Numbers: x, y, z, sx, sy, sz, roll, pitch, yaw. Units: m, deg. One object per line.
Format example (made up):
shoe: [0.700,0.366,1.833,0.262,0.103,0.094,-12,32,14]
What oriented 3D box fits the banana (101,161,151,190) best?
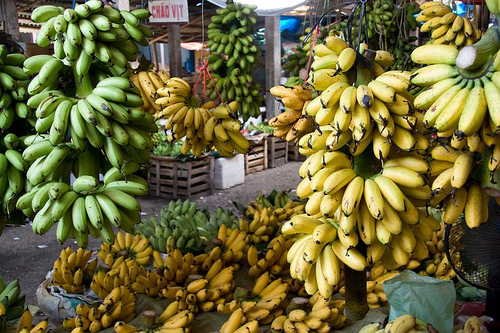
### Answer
banana: [-0.808,0.025,3.147,0.386,0.105,0.141,-26,-20,-24]

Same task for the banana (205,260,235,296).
banana: [-0.242,0.925,3.829,0.160,0.224,0.079,34,25,-9]

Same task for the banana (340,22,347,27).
banana: [0.904,-1.365,4.395,0.051,0.053,0.133,-2,14,11]

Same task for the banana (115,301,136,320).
banana: [-0.939,1.112,3.544,0.050,0.062,0.186,41,62,16]

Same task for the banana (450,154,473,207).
banana: [1.148,0.047,2.524,0.085,0.323,0.118,6,-23,19]

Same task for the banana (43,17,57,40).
banana: [-1.302,-0.908,3.003,0.079,0.148,0.047,21,-34,-30]

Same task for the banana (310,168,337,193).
banana: [0.420,0.049,2.664,0.074,0.061,0.226,42,57,12]

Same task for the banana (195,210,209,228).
banana: [-0.518,0.558,4.966,0.069,0.089,0.238,4,25,-13]

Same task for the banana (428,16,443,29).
banana: [1.457,-1.121,3.600,0.054,0.042,0.150,34,59,16]

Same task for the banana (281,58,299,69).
banana: [0.383,-0.967,4.305,0.160,0.095,0.194,-3,14,6]

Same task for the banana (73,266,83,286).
banana: [-1.463,0.940,3.932,0.041,0.161,0.055,10,-12,-8]

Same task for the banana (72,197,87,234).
banana: [-1.060,0.300,2.861,0.068,0.254,0.081,-32,-37,24]

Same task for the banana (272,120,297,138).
banana: [0.219,-0.237,3.014,0.122,0.041,0.070,-31,29,20]

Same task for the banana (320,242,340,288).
banana: [0.485,0.606,2.840,0.133,0.159,0.479,6,-26,9]

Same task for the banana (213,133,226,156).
banana: [-0.260,-0.167,3.758,0.037,0.191,0.063,-16,11,23]

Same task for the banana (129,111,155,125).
banana: [-0.699,-0.308,3.080,0.205,0.080,0.059,-10,32,13]

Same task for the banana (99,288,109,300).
banana: [-1.188,1.035,3.729,0.049,0.089,0.028,13,-27,-23]

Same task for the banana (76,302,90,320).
banana: [-1.243,1.093,3.430,0.075,0.123,0.078,-10,-14,-24]

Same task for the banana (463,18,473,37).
banana: [1.646,-1.054,3.479,0.044,0.052,0.162,-27,44,29]

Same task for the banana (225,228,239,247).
banana: [-0.148,0.664,4.414,0.058,0.075,0.222,22,59,18]

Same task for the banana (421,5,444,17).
banana: [1.440,-1.229,3.627,0.145,0.077,0.072,1,15,23]

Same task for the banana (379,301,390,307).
banana: [1.062,1.089,3.627,0.047,0.026,0.040,1,-24,1]

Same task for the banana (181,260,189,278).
banana: [-0.551,0.874,3.919,0.039,0.141,0.049,-6,-2,-9]

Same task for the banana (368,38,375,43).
banana: [1.127,-1.166,4.244,0.021,0.035,0.126,10,11,33]

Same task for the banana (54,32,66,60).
banana: [-1.232,-0.769,3.014,0.079,0.214,0.057,-13,-14,40]

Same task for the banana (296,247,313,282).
banana: [0.325,0.575,2.717,0.050,0.199,0.063,7,-7,29]

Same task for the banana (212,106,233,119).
banana: [-0.214,-0.417,3.567,0.155,0.092,0.046,1,15,23]

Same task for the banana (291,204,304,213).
banana: [0.523,0.462,5.079,0.156,0.041,0.054,-34,-21,-9]

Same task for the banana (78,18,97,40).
banana: [-1.033,-0.878,2.974,0.067,0.071,0.197,15,25,-52]

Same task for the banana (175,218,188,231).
banana: [-0.724,0.597,4.803,0.049,0.074,0.201,-1,27,-45]

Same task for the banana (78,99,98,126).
banana: [-1.027,-0.356,2.901,0.073,0.074,0.232,-36,47,1]

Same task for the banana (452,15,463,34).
banana: [1.563,-1.075,3.449,0.050,0.053,0.177,7,47,28]

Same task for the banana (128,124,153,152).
banana: [-0.734,-0.180,3.090,0.095,0.267,0.073,-34,-21,-8]

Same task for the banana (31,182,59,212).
banana: [-1.280,0.192,2.904,0.078,0.065,0.237,-10,39,54]

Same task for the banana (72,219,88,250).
banana: [-1.086,0.471,2.968,0.061,0.244,0.081,-19,-9,4]

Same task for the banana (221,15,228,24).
banana: [-0.224,-1.333,4.157,0.052,0.071,0.114,-6,14,-4]

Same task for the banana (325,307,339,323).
banana: [0.585,1.044,3.245,0.138,0.079,0.043,-12,1,-8]

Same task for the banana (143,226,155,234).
banana: [-1.058,0.672,4.931,0.137,0.060,0.101,6,18,37]

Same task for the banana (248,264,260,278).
banana: [0.042,0.907,3.971,0.060,0.081,0.104,40,2,29]

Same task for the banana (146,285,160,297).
banana: [-0.795,1.020,3.759,0.082,0.048,0.133,4,-11,-6]

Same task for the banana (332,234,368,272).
banana: [0.554,0.506,2.697,0.094,0.328,0.106,-56,18,-21]

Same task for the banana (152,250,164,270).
banana: [-0.801,0.820,4.062,0.064,0.202,0.054,-13,-12,-46]

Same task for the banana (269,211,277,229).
banana: [0.241,0.560,4.745,0.055,0.139,0.228,-2,14,11]

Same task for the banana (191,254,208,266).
banana: [-0.443,0.833,4.113,0.156,0.053,0.054,-27,64,-15]

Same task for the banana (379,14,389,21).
banana: [1.226,-1.359,4.160,0.062,0.037,0.050,13,37,10]

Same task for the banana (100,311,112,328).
banana: [-1.060,1.139,3.390,0.066,0.117,0.063,7,24,-10]

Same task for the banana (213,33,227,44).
banana: [-0.272,-1.160,4.185,0.154,0.042,0.050,-45,-6,-7]

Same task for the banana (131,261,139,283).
banana: [-0.971,0.897,3.881,0.048,0.155,0.040,7,-14,22]

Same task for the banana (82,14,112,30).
banana: [-0.975,-0.943,2.976,0.251,0.080,0.074,17,0,38]

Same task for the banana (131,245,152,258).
banana: [-1.020,0.818,4.335,0.197,0.069,0.104,-8,14,-12]
